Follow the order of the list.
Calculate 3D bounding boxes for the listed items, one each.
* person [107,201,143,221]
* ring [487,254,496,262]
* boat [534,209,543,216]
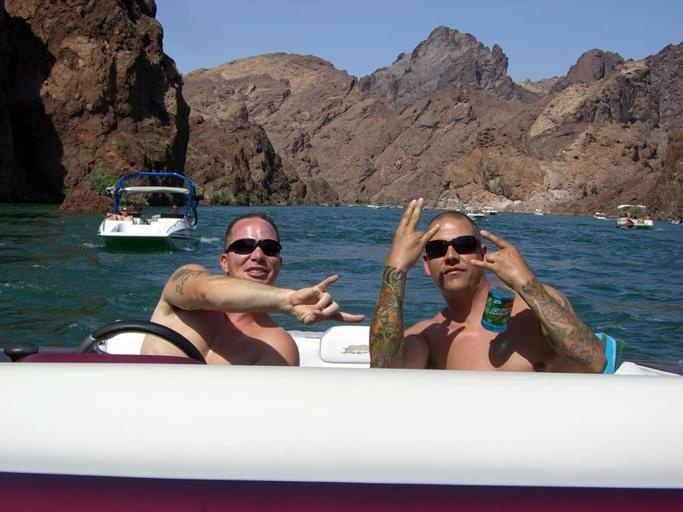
[{"bbox_3d":[-4.841,-0.968,14.657,0.709,0.392,1.123,4,0,0],"label":"person"},{"bbox_3d":[0.541,0.003,2.318,0.031,0.028,0.009,-12,15,10],"label":"ring"},{"bbox_3d":[23.355,-5.202,76.703,1.048,0.544,1.464,0,0,12],"label":"boat"}]
